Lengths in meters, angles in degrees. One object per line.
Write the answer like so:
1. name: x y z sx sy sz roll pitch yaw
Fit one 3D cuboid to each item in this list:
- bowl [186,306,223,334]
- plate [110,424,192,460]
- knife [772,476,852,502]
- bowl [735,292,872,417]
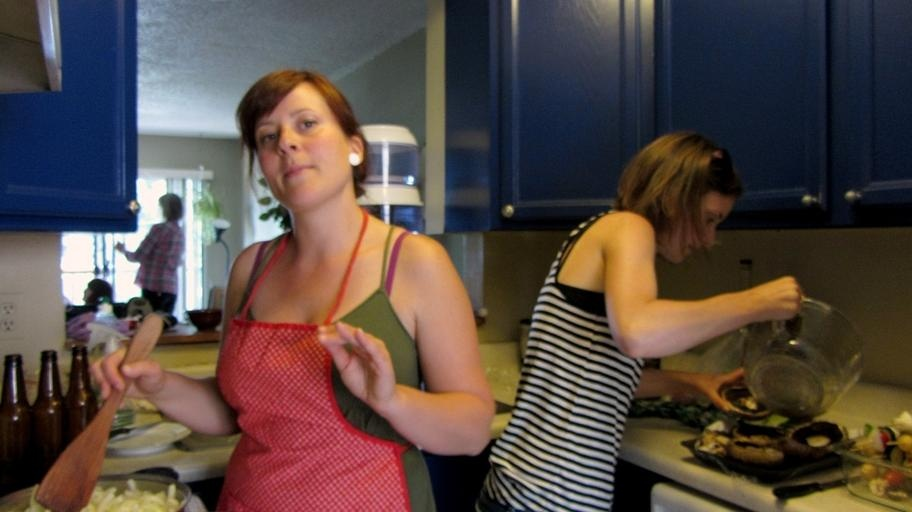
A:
1. bowl: -1.381 0.356 3.938 0.167 0.089 0.148 -2 -11 0
2. plate: -1.084 0.663 2.529 0.269 0.054 0.253 -3 -7 2
3. knife: 1.090 0.722 2.201 0.317 0.029 0.054 -5 45 -12
4. bowl: 1.135 0.378 2.442 0.426 0.405 0.222 23 54 11
